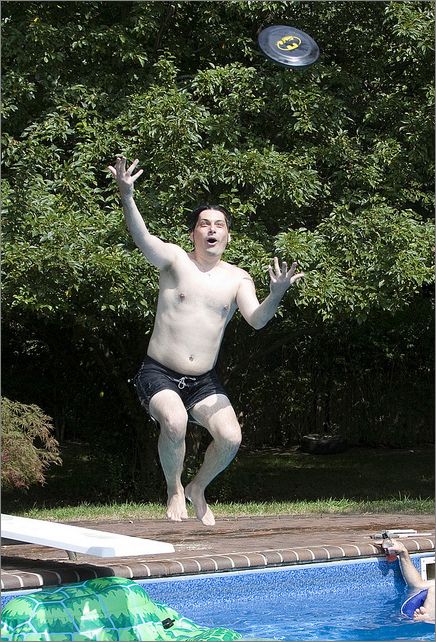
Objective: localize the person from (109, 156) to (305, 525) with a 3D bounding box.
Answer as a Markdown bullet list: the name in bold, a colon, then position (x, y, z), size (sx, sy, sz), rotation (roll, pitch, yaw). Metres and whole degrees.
- **person**: position (-0.127, 0.165, 3.719), size (0.824, 1.762, 0.581), rotation (2, 2, -15)
